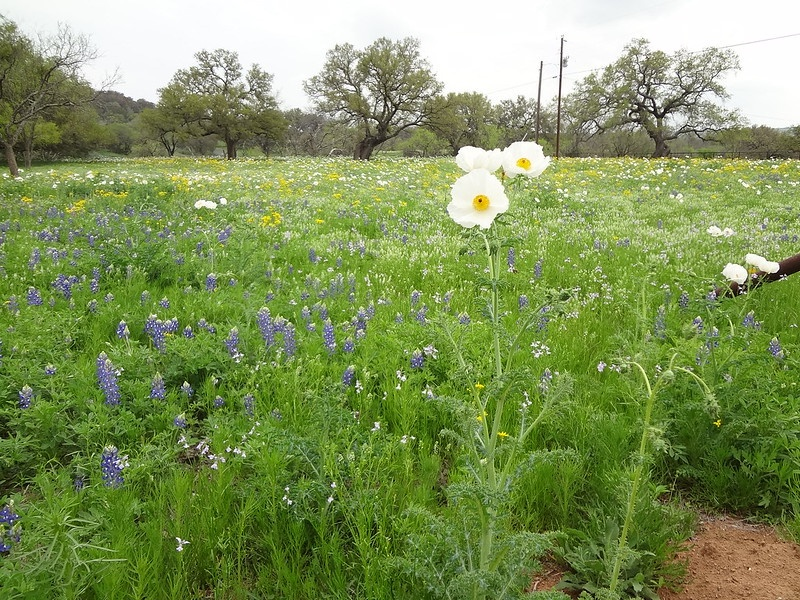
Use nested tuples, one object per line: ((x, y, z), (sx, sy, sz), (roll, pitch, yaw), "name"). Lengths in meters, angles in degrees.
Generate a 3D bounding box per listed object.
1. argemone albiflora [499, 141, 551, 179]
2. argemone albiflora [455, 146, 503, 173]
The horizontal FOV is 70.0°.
((0.951, -1.054, 4.323), (0.364, 0.270, 0.311), (5, 11, 5), "argemone albiflora")
((0.595, -1.052, 4.294), (0.255, 0.133, 0.258), (5, 32, 32), "argemone albiflora")
